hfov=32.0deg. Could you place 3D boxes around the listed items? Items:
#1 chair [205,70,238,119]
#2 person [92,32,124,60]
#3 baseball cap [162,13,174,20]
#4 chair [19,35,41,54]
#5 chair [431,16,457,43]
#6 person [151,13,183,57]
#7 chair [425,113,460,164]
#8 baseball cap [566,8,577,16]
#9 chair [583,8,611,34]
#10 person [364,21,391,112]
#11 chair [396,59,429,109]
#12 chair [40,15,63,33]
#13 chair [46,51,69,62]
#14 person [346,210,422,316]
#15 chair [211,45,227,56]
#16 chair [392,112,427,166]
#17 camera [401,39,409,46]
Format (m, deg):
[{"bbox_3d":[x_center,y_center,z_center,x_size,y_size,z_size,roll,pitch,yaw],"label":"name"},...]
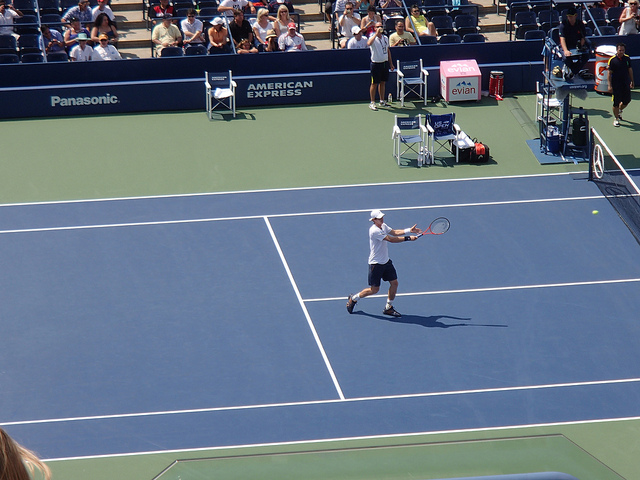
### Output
[{"bbox_3d":[-2.788,-4.055,31.407,0.812,1.192,0.807,-6,16,-17],"label":"chair"},{"bbox_3d":[-6.213,-5.546,32.201,0.789,0.775,0.610,-20,27,-33],"label":"person"},{"bbox_3d":[-4.510,-6.527,32.843,0.234,0.161,0.263,-4,23,1],"label":"baseball cap"},{"bbox_3d":[-8.490,-5.658,32.705,0.517,0.750,0.567,-1,11,-18],"label":"chair"},{"bbox_3d":[3.817,-6.303,34.196,0.792,1.136,0.874,-3,15,-9],"label":"chair"},{"bbox_3d":[-4.488,-5.998,32.979,0.848,1.358,0.902,-2,13,-14],"label":"person"},{"bbox_3d":[3.222,-2.710,29.326,0.950,1.540,1.275,-1,16,-2],"label":"chair"},{"bbox_3d":[6.382,-5.721,28.182,0.226,0.186,0.276,-2,23,7],"label":"baseball cap"},{"bbox_3d":[8.631,-6.924,34.714,0.823,0.614,1.326,1,24,12],"label":"chair"},{"bbox_3d":[1.668,-4.971,31.863,0.681,2.444,1.165,-3,21,3],"label":"person"},{"bbox_3d":[2.707,-4.577,32.492,0.918,1.227,1.107,-2,22,5],"label":"chair"},{"bbox_3d":[-8.024,-6.330,33.272,0.502,0.506,0.550,0,25,-10],"label":"chair"},{"bbox_3d":[-7.552,-5.243,32.155,0.644,0.266,0.493,-15,25,-22],"label":"chair"},{"bbox_3d":[1.278,0.517,23.320,1.377,2.195,0.435,-3,21,3],"label":"person"},{"bbox_3d":[-2.944,-5.558,32.612,0.475,0.236,0.143,-8,22,-8],"label":"chair"},{"bbox_3d":[2.356,-2.558,28.954,0.739,1.235,0.784,-1,14,4],"label":"chair"},{"bbox_3d":[2.553,-5.836,33.208,0.118,0.182,0.183,3,15,-3],"label":"camera"}]
